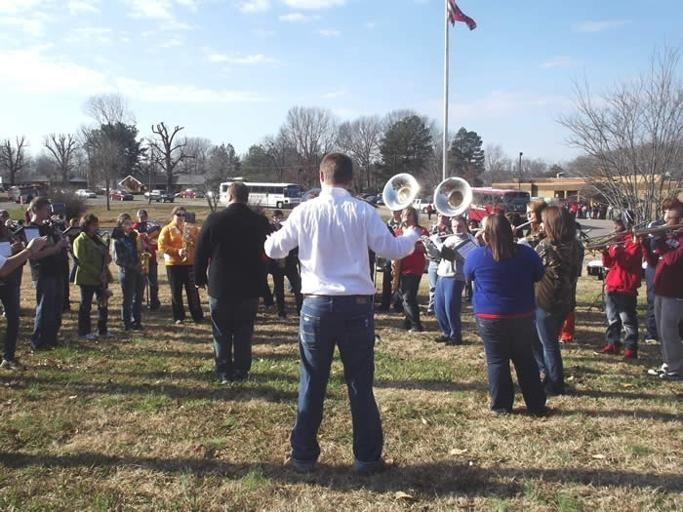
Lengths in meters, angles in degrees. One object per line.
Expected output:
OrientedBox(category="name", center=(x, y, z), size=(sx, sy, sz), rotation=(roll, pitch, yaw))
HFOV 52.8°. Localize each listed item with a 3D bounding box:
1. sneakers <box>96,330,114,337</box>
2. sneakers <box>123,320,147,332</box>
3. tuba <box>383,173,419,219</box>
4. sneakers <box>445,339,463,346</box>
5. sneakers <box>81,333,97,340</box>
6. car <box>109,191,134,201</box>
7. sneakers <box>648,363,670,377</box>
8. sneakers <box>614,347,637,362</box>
OrientedBox(category="sneakers", center=(-3.850, 1.273, 11.322), size=(0.298, 0.152, 0.110), rotation=(-1, -3, -8))
OrientedBox(category="sneakers", center=(-3.528, 1.188, 11.697), size=(0.251, 0.181, 0.263), rotation=(2, -17, -11))
OrientedBox(category="tuba", center=(0.923, -1.044, 11.491), size=(0.601, 0.631, 0.200), rotation=(43, 28, 26))
OrientedBox(category="sneakers", center=(1.769, 1.369, 10.922), size=(0.247, 0.108, 0.125), rotation=(1, -31, 10))
OrientedBox(category="sneakers", center=(-4.041, 1.306, 11.090), size=(0.244, 0.098, 0.113), rotation=(0, -2, 26))
OrientedBox(category="car", center=(-20.026, -5.468, 63.163), size=(2.046, 0.857, 1.169), rotation=(3, 7, 34))
OrientedBox(category="sneakers", center=(4.298, 1.579, 9.390), size=(0.212, 0.148, 0.094), rotation=(-17, -33, 34))
OrientedBox(category="sneakers", center=(4.198, 1.463, 10.246), size=(0.280, 0.224, 0.114), rotation=(5, 18, 5))
